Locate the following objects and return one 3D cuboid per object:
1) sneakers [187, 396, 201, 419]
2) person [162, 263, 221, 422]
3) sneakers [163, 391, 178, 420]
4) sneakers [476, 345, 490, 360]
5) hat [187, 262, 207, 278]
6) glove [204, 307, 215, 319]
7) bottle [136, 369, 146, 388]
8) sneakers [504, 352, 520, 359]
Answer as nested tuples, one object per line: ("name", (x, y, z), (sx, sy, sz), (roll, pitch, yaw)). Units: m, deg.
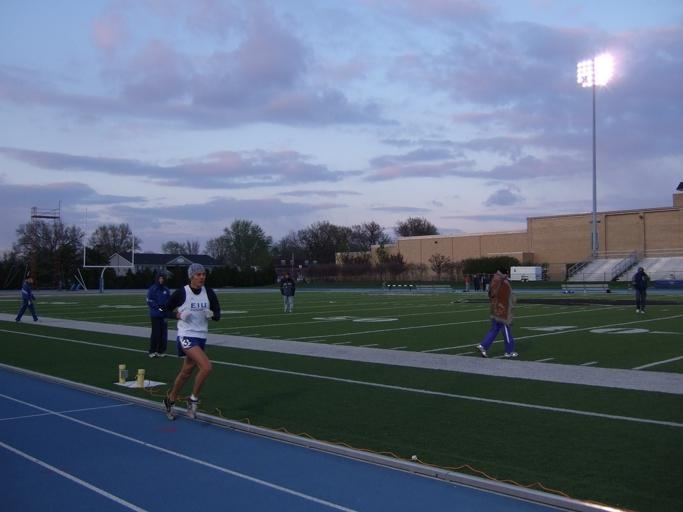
("sneakers", (-2.226, 2.277, 10.221), (0.179, 0.415, 0.134), (-10, -6, 33))
("person", (-2.235, 1.276, 10.077), (0.813, 2.301, 0.584), (-1, 3, -11))
("sneakers", (-2.537, 2.242, 10.152), (0.145, 0.449, 0.194), (-4, -13, -44))
("sneakers", (3.160, 2.102, 15.082), (0.172, 0.413, 0.137), (-26, -1, -1))
("hat", (-2.198, 0.200, 10.128), (0.235, 0.222, 0.234), (5, 4, 31))
("glove", (-1.957, 0.849, 10.083), (0.101, 0.144, 0.044), (-11, 1, 24))
("bottle", (-3.637, 2.195, 12.211), (0.153, 0.317, 0.456), (-2, 3, -18))
("sneakers", (3.810, 2.215, 15.138), (0.328, 0.155, 0.130), (-6, 8, -35))
